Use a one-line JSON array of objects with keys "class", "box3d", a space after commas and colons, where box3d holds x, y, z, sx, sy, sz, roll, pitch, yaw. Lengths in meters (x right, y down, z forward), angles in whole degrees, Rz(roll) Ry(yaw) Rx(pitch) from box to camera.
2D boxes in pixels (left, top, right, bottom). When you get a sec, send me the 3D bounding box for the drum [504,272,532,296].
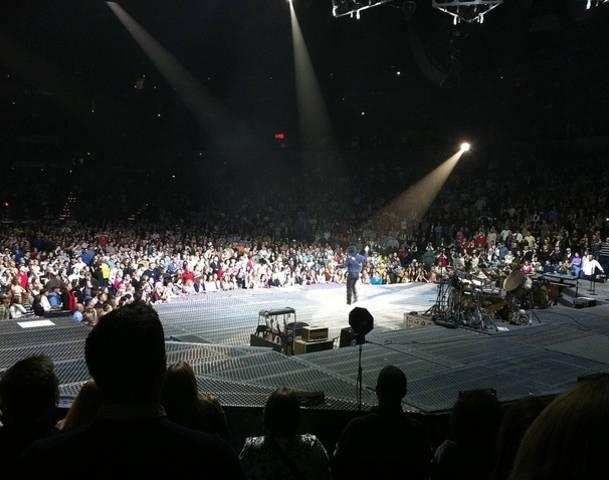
[{"class": "drum", "box3d": [4.224, 0.834, 9.033, 0.327, 0.530, 0.952, 6, 7, 37]}]
